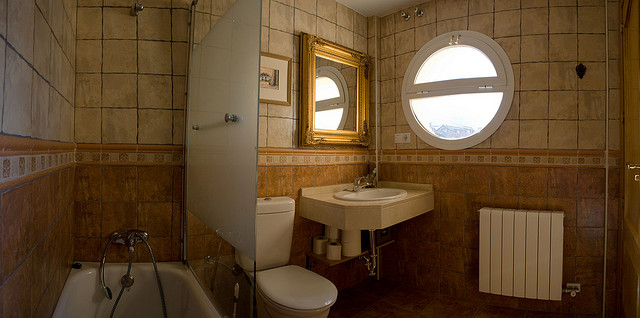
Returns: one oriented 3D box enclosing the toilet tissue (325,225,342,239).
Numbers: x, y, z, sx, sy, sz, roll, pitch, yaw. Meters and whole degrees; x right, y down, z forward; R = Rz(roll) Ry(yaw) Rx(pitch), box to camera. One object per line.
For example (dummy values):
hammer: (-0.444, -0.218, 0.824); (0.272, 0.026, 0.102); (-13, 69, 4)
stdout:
toilet tissue: (0.166, 0.921, 5.012); (0.185, 0.189, 0.176); (0, -2, -12)

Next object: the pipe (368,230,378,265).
pipe: (0.666, 1.100, 5.027); (0.083, 0.444, 0.132); (1, 2, 8)

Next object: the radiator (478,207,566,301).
radiator: (2.429, 1.147, 4.880); (0.906, 1.036, 0.136); (1, 3, 20)

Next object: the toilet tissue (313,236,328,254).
toilet tissue: (0.008, 1.086, 5.072); (0.195, 0.193, 0.187); (0, -2, 41)

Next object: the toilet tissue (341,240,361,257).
toilet tissue: (0.400, 1.111, 4.959); (0.199, 0.135, 0.191); (1, -2, -25)

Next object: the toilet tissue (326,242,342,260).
toilet tissue: (0.178, 1.134, 4.979); (0.180, 0.169, 0.183); (1, -4, -6)
